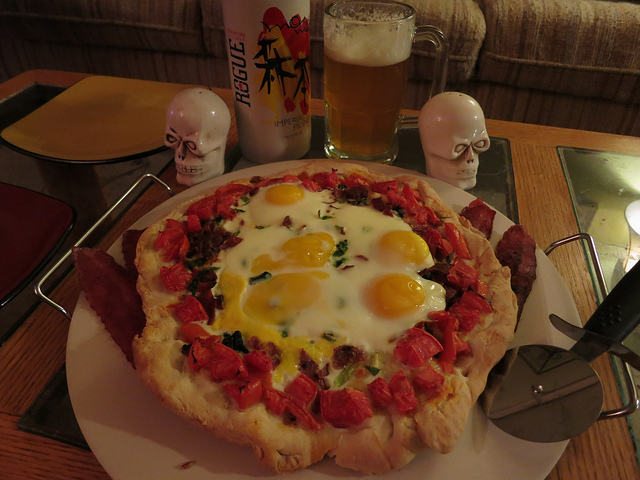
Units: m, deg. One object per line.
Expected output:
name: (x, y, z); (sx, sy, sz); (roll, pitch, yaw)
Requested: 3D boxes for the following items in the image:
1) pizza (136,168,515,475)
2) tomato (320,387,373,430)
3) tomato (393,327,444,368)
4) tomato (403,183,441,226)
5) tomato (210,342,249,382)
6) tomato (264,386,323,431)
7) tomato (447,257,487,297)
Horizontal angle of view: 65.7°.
pizza: (-0.002, 0.218, 1.865); (1.413, 0.251, 1.149); (8, 49, 3)
tomato: (0.085, 0.553, 1.642); (0.165, 0.079, 0.117); (-5, 49, -8)
tomato: (0.334, 0.369, 1.710); (0.135, 0.059, 0.132); (30, 59, 21)
tomato: (0.414, -0.134, 2.105); (0.082, 0.060, 0.214); (-40, 64, -11)
tomato: (-0.313, 0.422, 1.717); (0.140, 0.075, 0.109); (2, 48, -2)
tomato: (-0.092, 0.566, 1.660); (0.226, 0.059, 0.068); (19, 50, 12)
tomato: (0.565, 0.125, 1.926); (0.146, 0.105, 0.141); (13, 24, 22)
